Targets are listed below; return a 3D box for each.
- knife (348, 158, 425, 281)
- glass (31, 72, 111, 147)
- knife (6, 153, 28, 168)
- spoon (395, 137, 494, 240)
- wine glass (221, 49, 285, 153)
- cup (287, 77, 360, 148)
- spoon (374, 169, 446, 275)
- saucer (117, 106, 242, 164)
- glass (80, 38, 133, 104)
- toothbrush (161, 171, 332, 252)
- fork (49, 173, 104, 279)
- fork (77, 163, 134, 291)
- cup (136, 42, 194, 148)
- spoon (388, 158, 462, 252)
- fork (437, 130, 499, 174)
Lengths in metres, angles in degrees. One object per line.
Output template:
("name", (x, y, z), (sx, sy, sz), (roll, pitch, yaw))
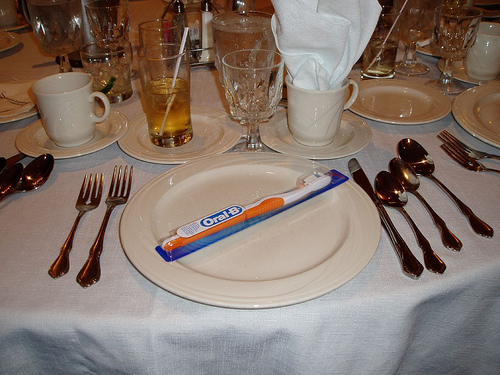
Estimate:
("knife", (0.234, 0.061, 0.764), (0.040, 0.022, 0.308), (-11, 50, -6))
("glass", (-0.382, -0.175, 1.001), (0.189, 0.160, 0.134), (11, 41, 4))
("knife", (-0.512, -0.062, 0.905), (0.014, 0.004, 0.086), (44, 23, -7))
("spoon", (0.376, -0.015, 0.840), (0.055, 0.028, 0.321), (-20, 45, 1))
("wine glass", (0.007, -0.192, 0.935), (0.120, 0.203, 0.126), (17, 49, 13))
("cup", (0.166, -0.178, 0.966), (0.161, 0.144, 0.141), (-2, 27, 0))
("spoon", (0.305, 0.065, 0.794), (0.052, 0.262, 0.029), (-30, 20, 15))
("saucer", (-0.180, -0.141, 0.995), (0.290, 0.133, 0.220), (-20, 33, -36))
("glass", (-0.372, -0.324, 1.177), (0.148, 0.225, 0.170), (-4, 24, -13))
("toothbrush", (0.009, 0.042, 0.752), (0.379, 0.041, 0.050), (-21, 21, -30))
("fork", (-0.308, 0.063, 0.735), (0.026, 0.020, 0.195), (15, 66, -2))
("fork", (-0.261, 0.069, 0.765), (0.030, 0.028, 0.236), (4, 53, 6))
("cup", (-0.188, -0.211, 0.967), (0.118, 0.200, 0.120), (1, 24, -1))
("spoon", (0.329, 0.023, 0.793), (0.041, 0.021, 0.249), (-13, 50, 0))
("fork", (0.460, -0.065, 0.919), (0.044, 0.026, 0.166), (-40, 54, -20))
